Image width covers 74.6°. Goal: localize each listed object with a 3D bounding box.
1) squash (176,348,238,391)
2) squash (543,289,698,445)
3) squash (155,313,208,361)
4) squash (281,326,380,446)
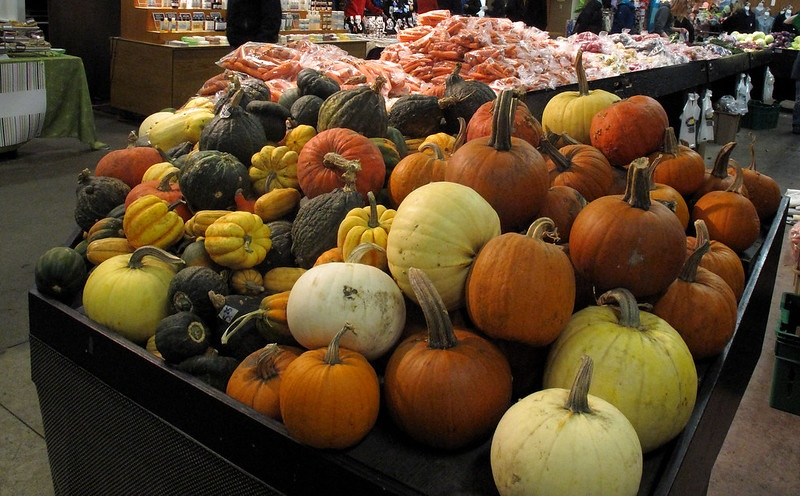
[{"bbox_3d":[-0.728,0.472,2.021,0.197,0.189,0.166,15,57,-27],"label":"squash"},{"bbox_3d":[0.807,0.355,2.040,0.552,0.496,0.540,2,5,23],"label":"squash"},{"bbox_3d":[-0.795,0.335,2.008,0.165,0.173,0.178,-4,50,-7],"label":"squash"},{"bbox_3d":[-0.237,0.474,1.829,0.327,0.404,0.326,0,5,-39],"label":"squash"}]
